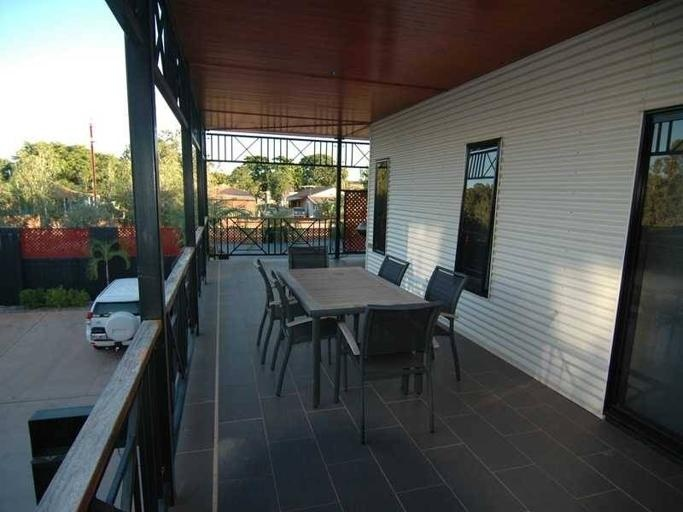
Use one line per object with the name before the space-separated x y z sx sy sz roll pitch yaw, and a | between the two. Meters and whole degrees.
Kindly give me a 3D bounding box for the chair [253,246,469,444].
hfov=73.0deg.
chair | 0.396 0.707 4.719 2.132 1.145 2.163 -2 10 -11
